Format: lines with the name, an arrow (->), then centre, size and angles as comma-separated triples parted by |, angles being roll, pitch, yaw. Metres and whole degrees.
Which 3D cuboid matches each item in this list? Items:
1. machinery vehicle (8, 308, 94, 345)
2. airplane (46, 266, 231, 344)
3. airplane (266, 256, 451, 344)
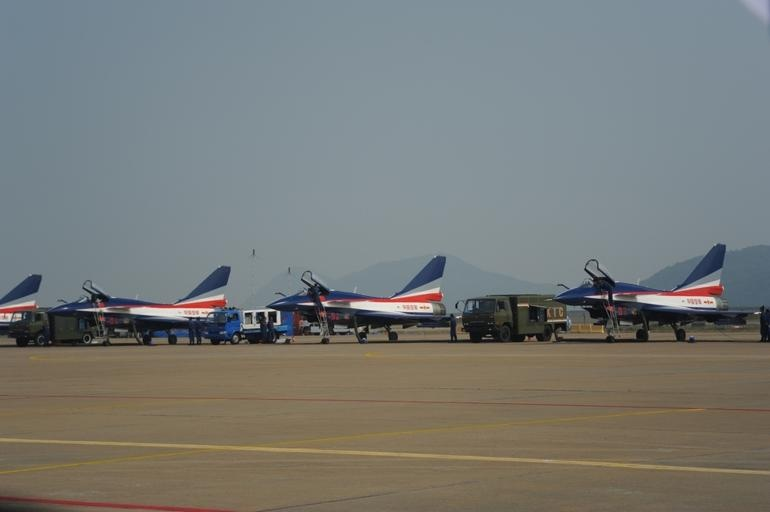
machinery vehicle -> -18.340, 4.053, 53.525 | 5.305, 2.084, 2.101 | 0, 0, -6
airplane -> -13.572, 3.531, 55.022 | 6.944, 2.775, 5.496 | 5, -9, -36
airplane -> -0.704, 2.954, 57.056 | 7.803, 3.542, 6.551 | 4, -6, -34
